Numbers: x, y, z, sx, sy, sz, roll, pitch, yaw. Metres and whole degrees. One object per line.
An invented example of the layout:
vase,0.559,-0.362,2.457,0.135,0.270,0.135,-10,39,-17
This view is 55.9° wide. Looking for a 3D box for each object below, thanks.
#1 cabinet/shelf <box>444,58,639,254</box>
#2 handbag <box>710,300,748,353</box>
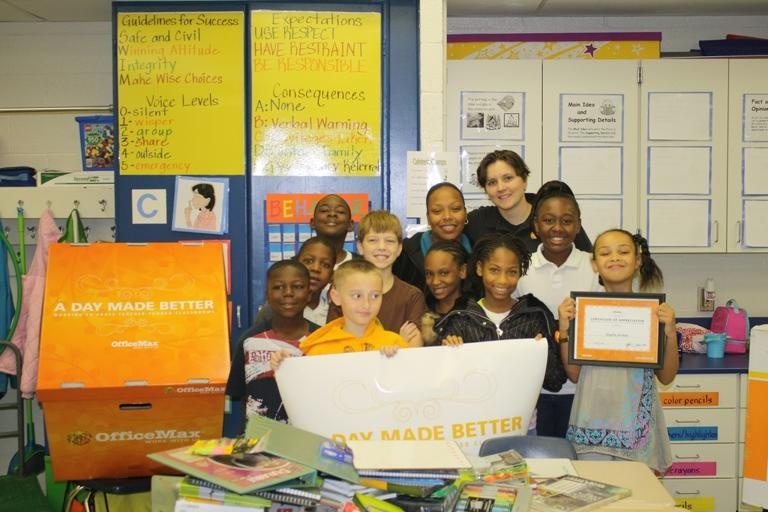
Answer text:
cabinet/shelf,1.015,-0.671,5.239,1.618,1.300,0.522,-3,7,-24
handbag,2.440,0.495,5.051,0.252,0.350,0.256,0,3,15
